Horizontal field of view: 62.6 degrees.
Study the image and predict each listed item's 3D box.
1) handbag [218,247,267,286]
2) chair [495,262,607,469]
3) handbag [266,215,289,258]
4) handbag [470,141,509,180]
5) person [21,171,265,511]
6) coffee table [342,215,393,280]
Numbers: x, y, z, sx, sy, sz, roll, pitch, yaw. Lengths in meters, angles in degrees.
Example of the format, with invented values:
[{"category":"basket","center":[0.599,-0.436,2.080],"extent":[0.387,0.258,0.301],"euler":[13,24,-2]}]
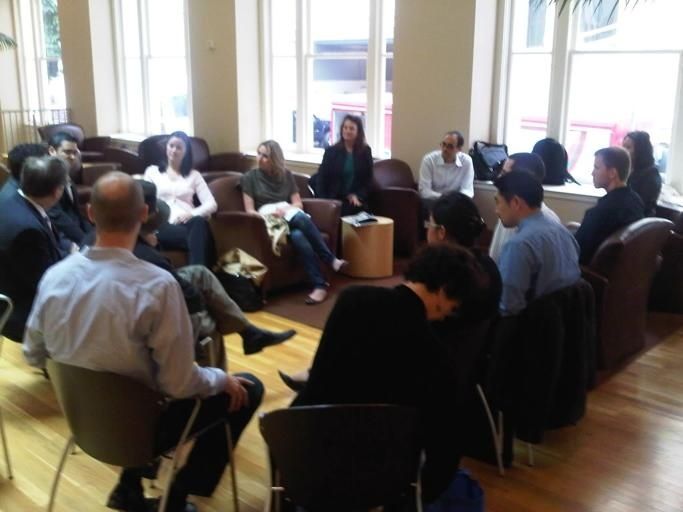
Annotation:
[{"category":"handbag","center":[-0.811,0.079,4.608],"extent":[0.310,0.145,0.320],"euler":[28,20,26]},{"category":"chair","center":[1.056,0.581,2.892],"extent":[0.416,0.743,0.736],"euler":[17,26,41]},{"category":"handbag","center":[-0.576,-0.167,4.907],"extent":[0.224,0.108,0.292],"euler":[-14,54,-40]},{"category":"handbag","center":[1.581,-1.042,6.045],"extent":[0.360,0.495,0.190],"euler":[-1,-17,-21]},{"category":"person","center":[-0.758,0.434,2.171],"extent":[0.883,1.470,0.375],"euler":[-4,16,-9]},{"category":"coffee table","center":[0.255,-0.151,5.585],"extent":[0.516,0.631,0.530],"euler":[-6,13,-21]}]
